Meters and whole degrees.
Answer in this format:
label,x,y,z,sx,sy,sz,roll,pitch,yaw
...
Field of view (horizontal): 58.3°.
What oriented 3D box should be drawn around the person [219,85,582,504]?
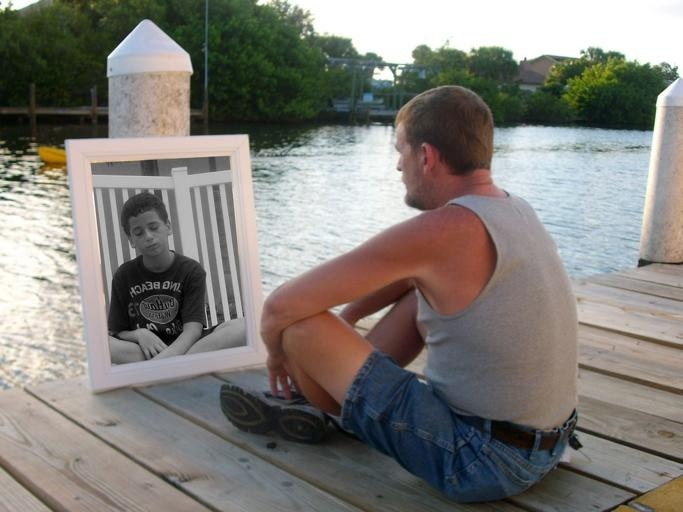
label,x,y,z,sx,sy,sz,roll,pitch,yaw
person,0.183,0.072,2.380,1.452,1.276,0.999,10,11,29
